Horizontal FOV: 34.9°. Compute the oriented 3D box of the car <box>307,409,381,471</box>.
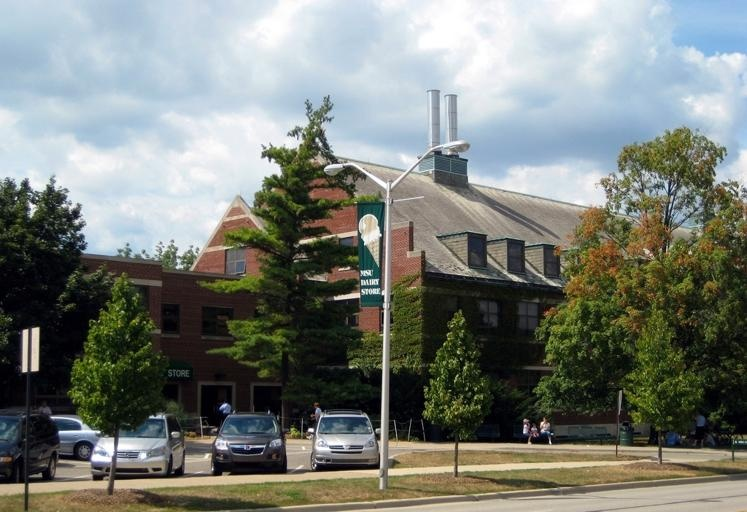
[{"bbox_3d":[-1.410,8.170,53.105,3.056,2.560,5.342,1,-5,-5],"label":"car"}]

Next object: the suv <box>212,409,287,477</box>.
[{"bbox_3d":[-5.546,8.072,52.046,3.072,2.611,6.402,1,-5,-7],"label":"suv"}]

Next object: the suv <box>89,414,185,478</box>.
[{"bbox_3d":[-9.866,7.952,50.061,3.277,2.629,6.032,1,-5,-2],"label":"suv"}]
